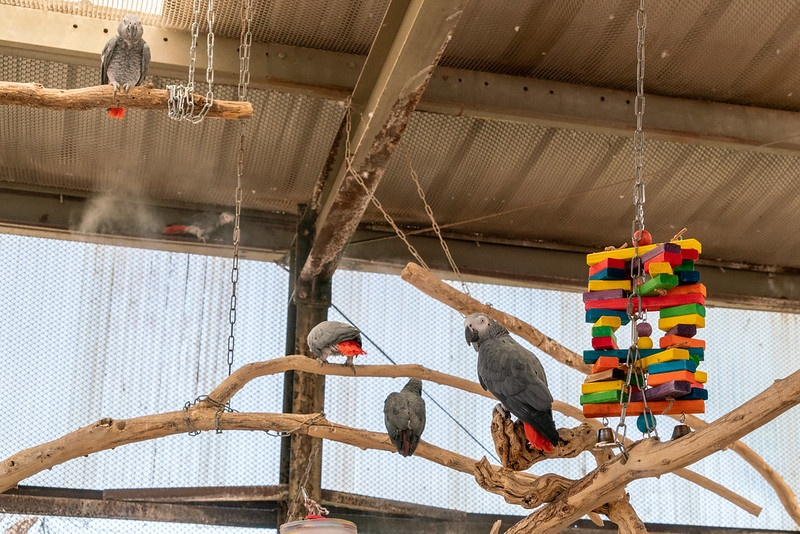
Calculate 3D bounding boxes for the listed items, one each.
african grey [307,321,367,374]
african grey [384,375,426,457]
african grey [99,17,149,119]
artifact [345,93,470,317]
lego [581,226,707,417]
[{"bbox_3d":[-0.456,0.588,13.878,0.394,0.271,0.337,-8,-13,40],"label":"african grey"},{"bbox_3d":[0.029,1.111,13.669,0.275,0.491,0.245,0,-36,-2],"label":"african grey"},{"bbox_3d":[-1.965,-1.389,13.521,0.344,0.681,0.337,5,-8,-41],"label":"african grey"},{"bbox_3d":[0.066,-0.356,14.816,0.631,0.598,1.850,-9,-73,-17],"label":"artifact"},{"bbox_3d":[1.633,0.396,12.666,0.757,0.663,1.302,-1,-64,5],"label":"lego"}]
